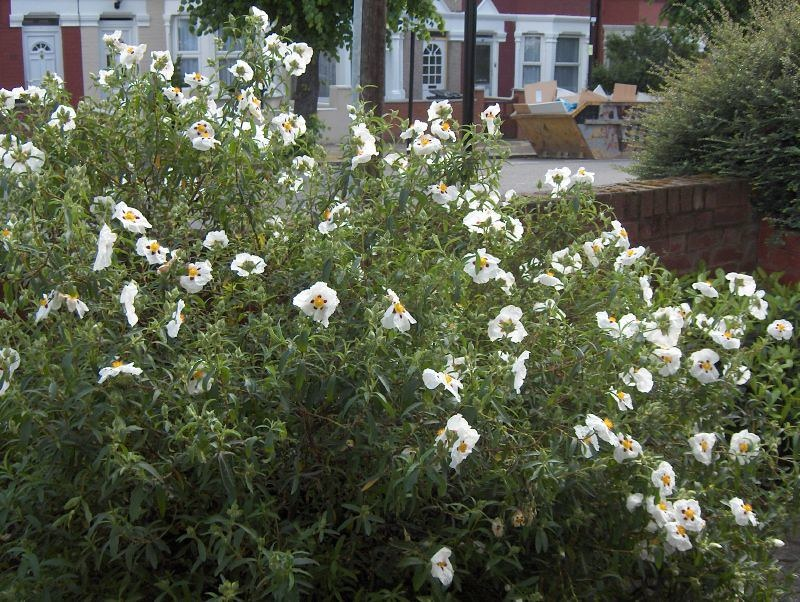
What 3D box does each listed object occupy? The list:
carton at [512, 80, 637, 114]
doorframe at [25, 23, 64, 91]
[{"bbox_3d":[4.389,-5.180,19.976,2.072,0.703,2.094,-20,19,-38],"label":"carton"},{"bbox_3d":[-12.388,-8.411,26.956,1.132,2.267,0.267,-18,50,-37],"label":"doorframe"}]
